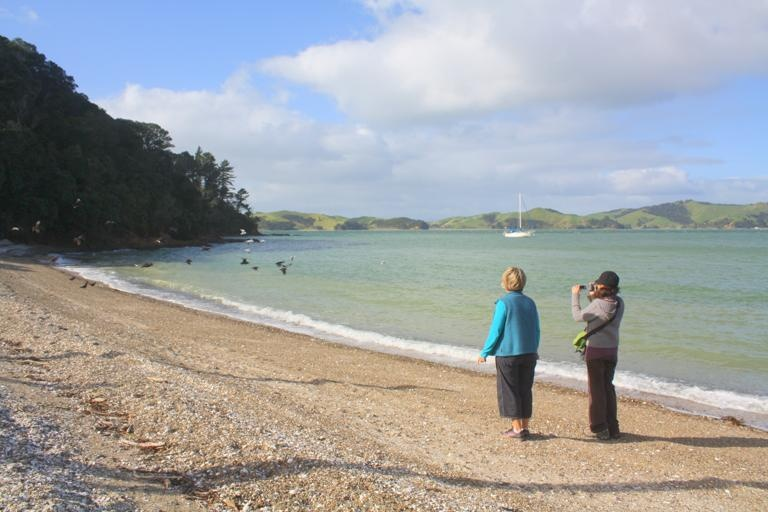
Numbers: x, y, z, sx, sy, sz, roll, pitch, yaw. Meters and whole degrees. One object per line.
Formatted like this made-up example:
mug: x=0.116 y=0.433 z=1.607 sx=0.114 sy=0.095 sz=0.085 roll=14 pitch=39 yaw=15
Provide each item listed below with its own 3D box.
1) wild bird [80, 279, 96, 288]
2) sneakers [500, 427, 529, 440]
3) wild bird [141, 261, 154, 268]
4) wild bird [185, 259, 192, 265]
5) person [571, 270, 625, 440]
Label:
wild bird: x=-14.207 y=1.326 z=26.660 sx=0.179 sy=0.298 sz=0.312 roll=-14 pitch=38 yaw=11
sneakers: x=2.791 y=3.770 z=11.904 sx=0.571 sy=0.194 sz=0.209 roll=5 pitch=3 yaw=40
wild bird: x=-16.865 y=0.602 z=39.621 sx=0.297 sy=0.294 sz=0.855 roll=-6 pitch=9 yaw=17
wild bird: x=-15.277 y=0.489 z=43.624 sx=0.718 sy=0.269 sz=0.829 roll=0 pitch=2 yaw=-22
person: x=4.507 y=2.115 z=11.707 sx=0.985 sy=3.593 sz=0.779 roll=-2 pitch=3 yaw=10
